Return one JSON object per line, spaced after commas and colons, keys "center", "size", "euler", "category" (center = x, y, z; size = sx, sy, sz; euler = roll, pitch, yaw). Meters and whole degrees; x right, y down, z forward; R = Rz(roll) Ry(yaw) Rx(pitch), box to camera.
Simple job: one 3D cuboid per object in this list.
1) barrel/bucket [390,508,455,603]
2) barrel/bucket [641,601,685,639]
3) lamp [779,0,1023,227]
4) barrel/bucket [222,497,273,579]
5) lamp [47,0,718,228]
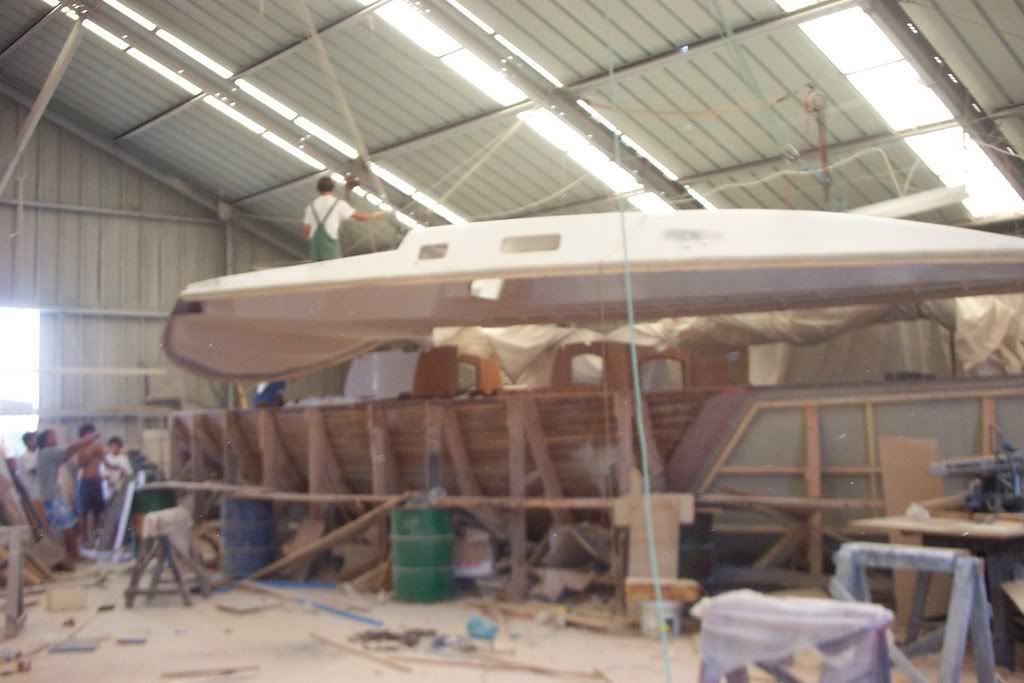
{"center": [-0.767, 1.722, 8.039], "size": [0.640, 0.698, 0.641], "euler": [-1, -9, 0], "category": "barrel/bucket"}
{"center": [1.021, 1.900, 6.905], "size": [0.277, 0.279, 0.209], "euler": [-2, 5, 7], "category": "barrel/bucket"}
{"center": [2.787, -1.517, 6.810], "size": [2.008, 1.401, 0.542], "euler": [-7, 6, -39], "category": "lamp"}
{"center": [-2.367, 1.701, 8.897], "size": [0.478, 0.687, 0.326], "euler": [-4, 5, -16], "category": "barrel/bucket"}
{"center": [-1.098, -1.763, 7.029], "size": [4.577, 1.941, 1.087], "euler": [0, 6, 34], "category": "lamp"}
